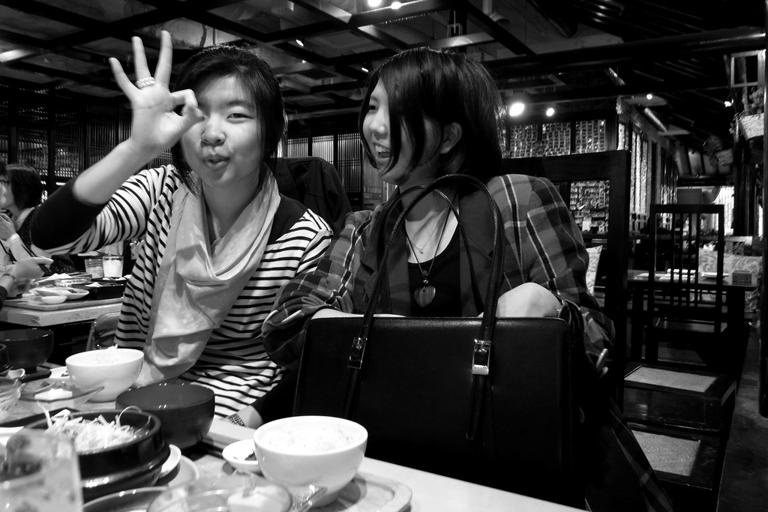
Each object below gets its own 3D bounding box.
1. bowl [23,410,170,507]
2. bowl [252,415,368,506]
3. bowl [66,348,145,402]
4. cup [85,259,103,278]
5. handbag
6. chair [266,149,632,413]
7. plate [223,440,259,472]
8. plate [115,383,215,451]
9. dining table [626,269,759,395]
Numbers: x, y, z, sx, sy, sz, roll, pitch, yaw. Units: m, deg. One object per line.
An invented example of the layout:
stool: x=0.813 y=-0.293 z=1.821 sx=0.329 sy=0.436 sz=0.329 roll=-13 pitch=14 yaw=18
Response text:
bowl: x=-0.609 y=0.474 z=1.307 sx=0.215 sy=0.081 sz=0.221 roll=-2 pitch=1 yaw=0
bowl: x=-0.185 y=0.475 z=1.357 sx=0.197 sy=0.126 sz=0.204 roll=1 pitch=-1 yaw=0
bowl: x=-0.828 y=0.362 z=1.749 sx=0.160 sy=0.076 sz=0.158 roll=5 pitch=2 yaw=0
cup: x=-2.307 y=0.101 z=4.424 sx=0.139 sy=0.142 sz=0.134 roll=-1 pitch=2 yaw=0
handbag: x=0.170 y=0.251 z=1.722 sx=0.839 sy=0.961 sz=0.355 roll=-1 pitch=-20 yaw=22
chair: x=0.259 y=-0.028 z=2.207 sx=1.260 sy=0.915 sz=0.760 roll=-4 pitch=-17 yaw=22
plate: x=-0.365 y=0.519 z=1.443 sx=0.086 sy=0.030 sz=0.088 roll=6 pitch=5 yaw=41
plate: x=-0.581 y=0.409 z=1.535 sx=0.179 sy=0.099 sz=0.186 roll=0 pitch=-1 yaw=14
dining table: x=2.982 y=0.663 z=5.540 sx=1.156 sy=1.092 sz=1.180 roll=4 pitch=14 yaw=29
